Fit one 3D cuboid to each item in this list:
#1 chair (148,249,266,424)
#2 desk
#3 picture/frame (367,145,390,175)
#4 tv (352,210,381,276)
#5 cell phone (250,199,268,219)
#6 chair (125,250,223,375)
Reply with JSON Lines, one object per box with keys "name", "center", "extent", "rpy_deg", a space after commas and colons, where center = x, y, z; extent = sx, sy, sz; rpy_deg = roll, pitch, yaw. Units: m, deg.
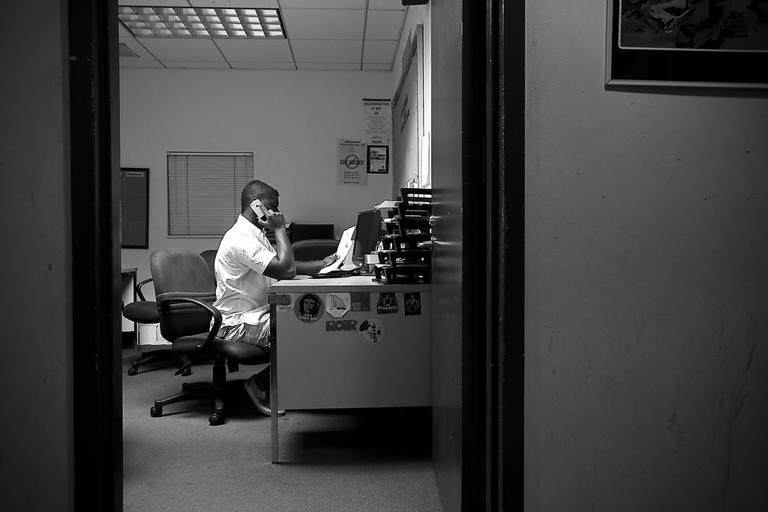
{"name": "chair", "center": [-0.955, 0.406, 3.619], "extent": [0.637, 0.930, 0.640], "rpy_deg": [-4, 0, 20]}
{"name": "desk", "center": [-0.141, 0.510, 3.214], "extent": [0.758, 0.740, 0.778], "rpy_deg": [-1, 4, 0]}
{"name": "picture/frame", "center": [-0.057, -0.858, 5.661], "extent": [0.231, 0.319, 0.170], "rpy_deg": [1, 8, 2]}
{"name": "tv", "center": [-0.094, -0.060, 3.479], "extent": [0.109, 0.305, 0.308], "rpy_deg": [8, 9, -12]}
{"name": "cell phone", "center": [-0.683, -0.252, 3.512], "extent": [0.069, 0.122, 0.044], "rpy_deg": [-31, 3, 0]}
{"name": "chair", "center": [-1.527, 0.349, 4.188], "extent": [0.540, 0.759, 0.554], "rpy_deg": [-7, 4, -38]}
